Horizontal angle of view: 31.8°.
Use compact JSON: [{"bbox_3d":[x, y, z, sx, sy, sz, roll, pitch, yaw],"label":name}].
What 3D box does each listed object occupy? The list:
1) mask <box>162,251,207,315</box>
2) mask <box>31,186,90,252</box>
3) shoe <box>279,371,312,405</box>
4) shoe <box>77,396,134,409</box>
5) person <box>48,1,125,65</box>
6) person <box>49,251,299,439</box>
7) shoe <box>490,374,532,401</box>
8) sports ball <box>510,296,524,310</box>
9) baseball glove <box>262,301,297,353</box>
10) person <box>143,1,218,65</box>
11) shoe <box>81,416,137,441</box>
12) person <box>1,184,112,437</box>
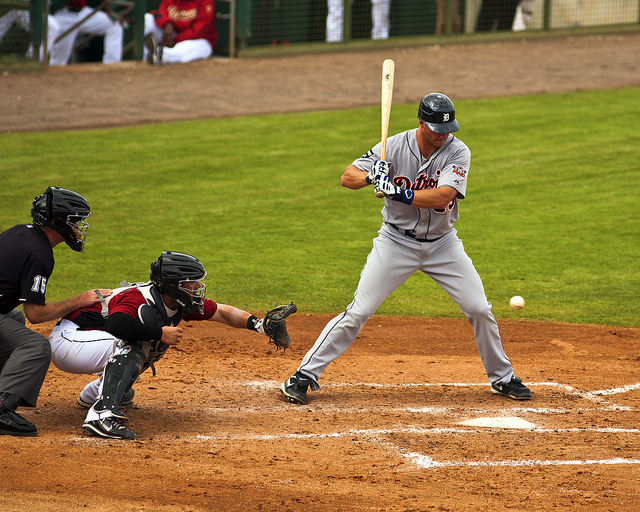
[{"bbox_3d":[-0.981,0.180,7.979,0.507,0.450,0.384,3,18,-9],"label":"mask"},{"bbox_3d":[-1.912,-0.279,8.066,0.480,0.357,0.365,10,-2,-24],"label":"mask"},{"bbox_3d":[-0.190,1.015,8.535,0.254,0.251,0.124,3,10,10],"label":"shoe"},{"bbox_3d":[-1.587,1.089,8.343,0.448,0.113,0.152,0,-5,-7],"label":"shoe"},{"bbox_3d":[-2.842,-2.695,13.530,0.604,0.746,1.051,4,9,17],"label":"person"},{"bbox_3d":[-1.105,0.615,8.317,1.981,1.089,1.053,4,6,-19],"label":"person"},{"bbox_3d":[1.490,1.044,8.736,0.381,0.139,0.145,4,4,31],"label":"shoe"},{"bbox_3d":[1.862,0.440,10.467,0.149,0.112,0.151,6,5,0],"label":"sports ball"},{"bbox_3d":[-0.287,0.536,8.373,0.228,0.367,0.243,5,10,19],"label":"baseball glove"},{"bbox_3d":[-1.760,-2.817,14.077,0.927,0.782,0.567,0,10,-8],"label":"person"},{"bbox_3d":[-1.472,1.210,7.768,0.436,0.156,0.138,4,-6,2],"label":"shoe"},{"bbox_3d":[-1.929,0.369,7.991,0.662,1.695,0.829,-1,10,-11],"label":"person"}]
